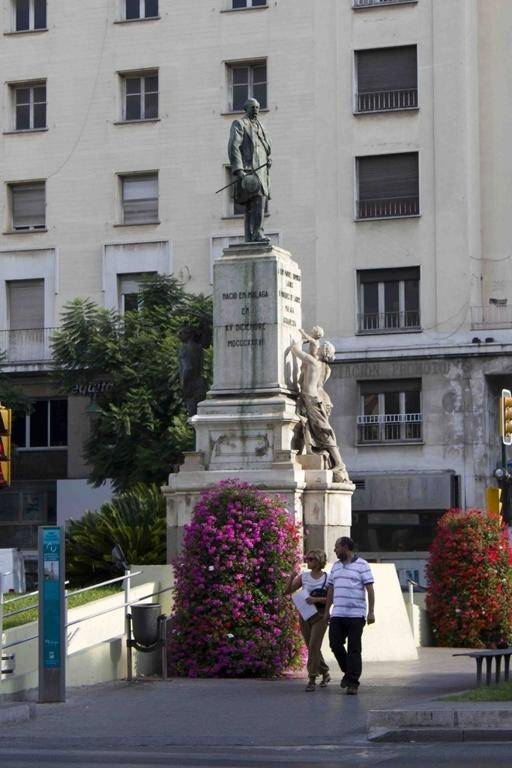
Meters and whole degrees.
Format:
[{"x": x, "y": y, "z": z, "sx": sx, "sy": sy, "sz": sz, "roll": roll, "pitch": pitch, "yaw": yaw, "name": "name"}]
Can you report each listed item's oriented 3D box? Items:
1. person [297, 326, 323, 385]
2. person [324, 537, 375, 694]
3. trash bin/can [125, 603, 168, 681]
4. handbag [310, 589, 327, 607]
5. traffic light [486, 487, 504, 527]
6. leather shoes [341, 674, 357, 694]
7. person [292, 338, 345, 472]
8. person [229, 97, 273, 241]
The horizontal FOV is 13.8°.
[{"x": 0.671, "y": -0.358, "z": 26.574, "sx": 0.252, "sy": 0.861, "sz": 0.228, "roll": 10, "pitch": 32, "yaw": -5, "name": "person"}, {"x": 0.943, "y": 2.240, "z": 20.586, "sx": 0.453, "sy": 1.484, "sz": 0.897, "roll": -2, "pitch": -3, "yaw": 2, "name": "person"}, {"x": -1.184, "y": 2.785, "z": 22.892, "sx": 0.562, "sy": 0.781, "sz": 0.518, "roll": -3, "pitch": -4, "yaw": 15, "name": "trash bin/can"}, {"x": 0.656, "y": 2.123, "z": 21.100, "sx": 0.118, "sy": 0.197, "sz": 0.171, "roll": 12, "pitch": -2, "yaw": 32, "name": "handbag"}, {"x": 3.342, "y": 1.677, "z": 29.294, "sx": 0.179, "sy": 0.431, "sz": 0.577, "roll": -2, "pitch": -4, "yaw": 3, "name": "traffic light"}, {"x": 0.920, "y": 2.881, "z": 20.298, "sx": 0.070, "sy": 0.119, "sz": 0.237, "roll": 1, "pitch": 6, "yaw": 5, "name": "leather shoes"}, {"x": 0.783, "y": 0.277, "z": 26.223, "sx": 0.643, "sy": 1.918, "sz": 0.919, "roll": -3, "pitch": -3, "yaw": 10, "name": "person"}, {"x": -0.072, "y": -2.672, "z": 26.917, "sx": 0.476, "sy": 1.937, "sz": 0.828, "roll": -3, "pitch": -3, "yaw": 10, "name": "person"}]
